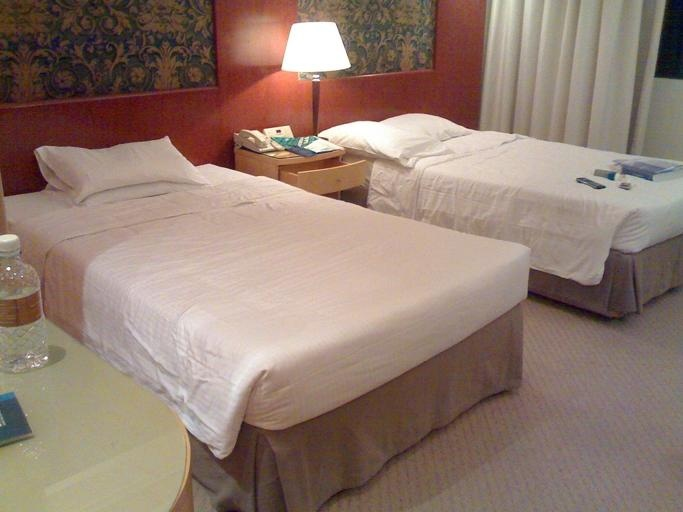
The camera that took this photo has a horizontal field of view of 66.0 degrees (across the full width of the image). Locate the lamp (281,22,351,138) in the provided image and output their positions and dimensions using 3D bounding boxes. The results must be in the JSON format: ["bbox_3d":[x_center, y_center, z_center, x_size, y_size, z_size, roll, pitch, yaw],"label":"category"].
[{"bbox_3d":[-0.224,-1.303,3.973,0.463,0.839,0.395,-23,32,-39],"label":"lamp"}]

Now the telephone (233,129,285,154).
[{"bbox_3d":[-0.615,-0.796,3.755,0.269,0.098,0.198,24,33,36],"label":"telephone"}]

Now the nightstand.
[{"bbox_3d":[-0.327,-0.604,3.856,0.503,0.481,0.655,-18,33,-34],"label":"nightstand"}]

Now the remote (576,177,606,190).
[{"bbox_3d":[1.565,-0.467,3.304,0.073,0.028,0.128,-7,18,-28],"label":"remote"}]
